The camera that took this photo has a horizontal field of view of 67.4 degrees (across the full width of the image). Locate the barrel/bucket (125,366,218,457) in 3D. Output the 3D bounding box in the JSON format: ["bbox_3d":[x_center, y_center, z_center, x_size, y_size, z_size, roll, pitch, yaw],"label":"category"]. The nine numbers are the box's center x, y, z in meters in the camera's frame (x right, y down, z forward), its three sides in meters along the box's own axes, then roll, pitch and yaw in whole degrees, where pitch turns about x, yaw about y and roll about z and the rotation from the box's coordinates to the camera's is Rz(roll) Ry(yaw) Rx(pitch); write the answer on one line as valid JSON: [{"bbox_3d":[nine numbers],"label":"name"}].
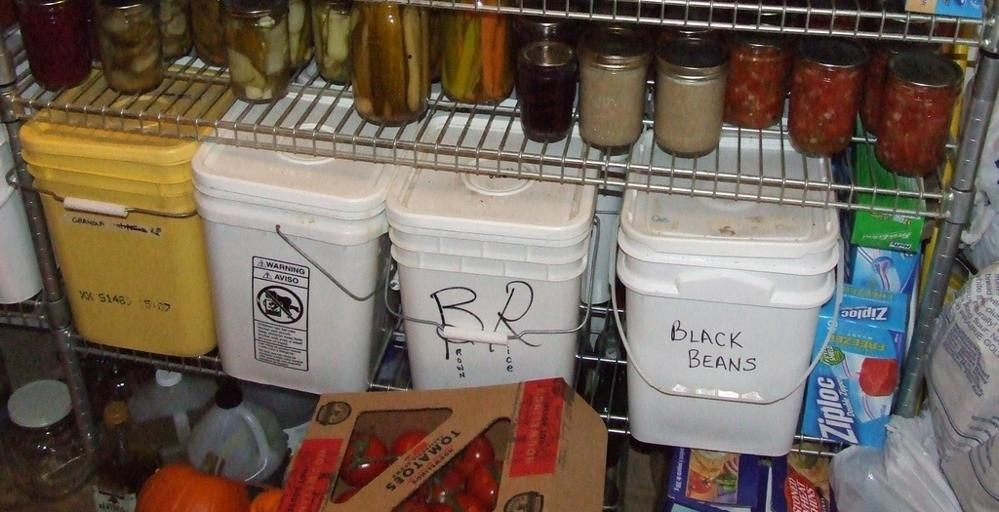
[{"bbox_3d":[-1.109,0.524,2.594,0.250,0.278,0.249,0,29,0],"label":"barrel/bucket"}]

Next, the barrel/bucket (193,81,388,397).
[{"bbox_3d":[-0.595,0.005,2.356,0.591,0.624,0.585,9,32,-5],"label":"barrel/bucket"}]

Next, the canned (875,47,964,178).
[{"bbox_3d":[1.122,-0.354,1.967,0.191,0.271,0.173,5,33,26],"label":"canned"}]

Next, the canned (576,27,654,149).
[{"bbox_3d":[0.311,-0.434,2.051,0.197,0.267,0.177,-4,28,-2],"label":"canned"}]

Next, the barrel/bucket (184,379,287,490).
[{"bbox_3d":[-0.835,0.584,2.413,0.262,0.260,0.189,30,51,18],"label":"barrel/bucket"}]

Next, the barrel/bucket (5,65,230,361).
[{"bbox_3d":[-1.085,-0.101,2.436,0.595,0.681,0.588,3,27,-2],"label":"barrel/bucket"}]

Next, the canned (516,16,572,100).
[{"bbox_3d":[0.116,-0.564,2.062,0.130,0.129,0.128,-5,32,-8],"label":"canned"}]

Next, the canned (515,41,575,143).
[{"bbox_3d":[0.127,-0.450,2.047,0.160,0.267,0.108,5,20,3],"label":"canned"}]
